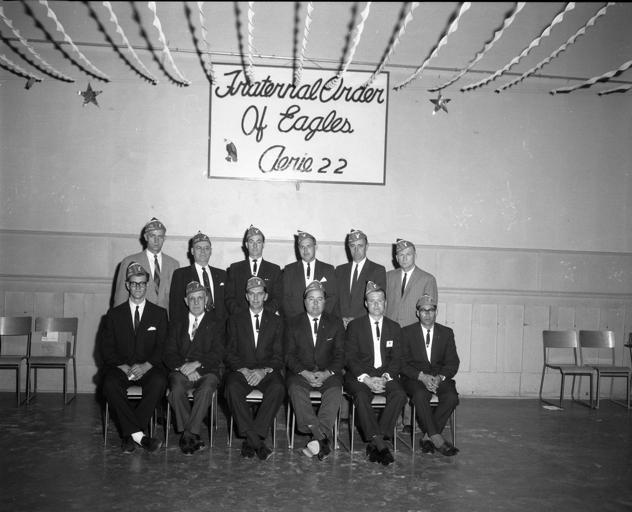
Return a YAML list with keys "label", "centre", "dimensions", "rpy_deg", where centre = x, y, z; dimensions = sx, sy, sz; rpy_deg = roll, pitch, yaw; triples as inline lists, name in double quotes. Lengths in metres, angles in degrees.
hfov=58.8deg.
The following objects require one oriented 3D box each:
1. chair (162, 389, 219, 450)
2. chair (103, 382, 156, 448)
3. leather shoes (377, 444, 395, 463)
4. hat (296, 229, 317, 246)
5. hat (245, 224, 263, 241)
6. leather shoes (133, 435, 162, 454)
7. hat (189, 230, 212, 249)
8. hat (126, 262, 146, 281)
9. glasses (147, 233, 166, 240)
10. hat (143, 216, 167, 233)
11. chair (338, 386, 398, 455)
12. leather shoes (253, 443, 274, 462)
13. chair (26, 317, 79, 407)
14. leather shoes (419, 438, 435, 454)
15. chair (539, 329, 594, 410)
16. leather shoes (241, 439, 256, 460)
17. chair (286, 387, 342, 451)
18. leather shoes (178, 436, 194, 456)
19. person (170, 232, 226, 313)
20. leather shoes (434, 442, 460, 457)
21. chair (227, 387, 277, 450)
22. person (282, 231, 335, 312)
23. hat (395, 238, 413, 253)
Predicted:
- label: "chair"
  centre: [-1.343, 1.670, 6.009]
  dimensions: [0.544, 0.571, 0.814]
  rpy_deg: [2, -4, -12]
- label: "chair"
  centre: [-1.860, 1.532, 5.689]
  dimensions: [0.620, 0.766, 0.323]
  rpy_deg: [1, -3, 2]
- label: "leather shoes"
  centre: [0.687, 1.941, 5.479]
  dimensions: [0.151, 0.152, 0.100]
  rpy_deg: [1, -3, 6]
- label: "hat"
  centre: [-0.129, -0.231, 6.770]
  dimensions: [0.163, 0.141, 0.231]
  rpy_deg: [-9, 13, -29]
- label: "hat"
  centre: [-0.760, -0.304, 6.892]
  dimensions: [0.181, 0.177, 0.269]
  rpy_deg: [0, -14, -2]
- label: "leather shoes"
  centre: [-1.659, 1.878, 5.589]
  dimensions: [0.293, 0.132, 0.125]
  rpy_deg: [8, 32, -8]
- label: "hat"
  centre: [-1.409, -0.207, 6.782]
  dimensions: [0.210, 0.214, 0.323]
  rpy_deg: [-3, 11, -6]
- label: "hat"
  centre: [-1.975, 0.166, 6.105]
  dimensions: [0.173, 0.243, 0.229]
  rpy_deg: [-1, 0, -34]
- label: "glasses"
  centre: [-1.898, -0.238, 6.718]
  dimensions: [0.101, 0.047, 0.119]
  rpy_deg: [2, 16, 0]
- label: "hat"
  centre: [-1.943, -0.365, 6.753]
  dimensions: [0.246, 0.169, 0.258]
  rpy_deg: [0, -2, -9]
- label: "chair"
  centre: [0.527, 1.725, 6.124]
  dimensions: [0.676, 0.623, 1.012]
  rpy_deg: [1, -4, -3]
- label: "leather shoes"
  centre: [-0.496, 1.914, 5.583]
  dimensions: [0.148, 0.141, 0.302]
  rpy_deg: [0, -4, 19]
- label: "chair"
  centre: [-3.360, 1.305, 7.187]
  dimensions: [0.587, 1.051, 1.028]
  rpy_deg: [3, -4, -23]
- label: "leather shoes"
  centre: [1.154, 1.968, 5.799]
  dimensions: [0.066, 0.088, 0.141]
  rpy_deg: [-45, 10, -37]
- label: "chair"
  centre: [3.512, 1.523, 7.710]
  dimensions: [0.826, 1.007, 0.695]
  rpy_deg: [1, -3, 3]
- label: "leather shoes"
  centre: [-0.663, 1.895, 5.513]
  dimensions: [0.130, 0.152, 0.111]
  rpy_deg: [0, -4, 14]
- label: "chair"
  centre: [-0.021, 1.680, 5.986]
  dimensions: [0.562, 0.623, 0.712]
  rpy_deg: [1, -4, -2]
- label: "leather shoes"
  centre: [-1.284, 1.857, 5.549]
  dimensions: [0.153, 0.168, 0.114]
  rpy_deg: [1, -3, 0]
- label: "person"
  centre: [-1.370, 0.367, 6.729]
  dimensions: [0.744, 1.353, 0.406]
  rpy_deg: [3, -14, -28]
- label: "leather shoes"
  centre: [1.338, 1.952, 5.689]
  dimensions: [0.207, 0.072, 0.126]
  rpy_deg: [5, 16, 38]
- label: "chair"
  centre: [-0.684, 1.676, 6.040]
  dimensions: [0.527, 0.587, 0.909]
  rpy_deg: [2, -4, -8]
- label: "person"
  centre: [-0.092, 0.489, 6.750]
  dimensions: [0.697, 1.523, 0.473]
  rpy_deg: [1, -3, 3]
- label: "hat"
  centre: [1.060, -0.134, 6.828]
  dimensions: [0.150, 0.141, 0.221]
  rpy_deg: [-8, 6, -17]
